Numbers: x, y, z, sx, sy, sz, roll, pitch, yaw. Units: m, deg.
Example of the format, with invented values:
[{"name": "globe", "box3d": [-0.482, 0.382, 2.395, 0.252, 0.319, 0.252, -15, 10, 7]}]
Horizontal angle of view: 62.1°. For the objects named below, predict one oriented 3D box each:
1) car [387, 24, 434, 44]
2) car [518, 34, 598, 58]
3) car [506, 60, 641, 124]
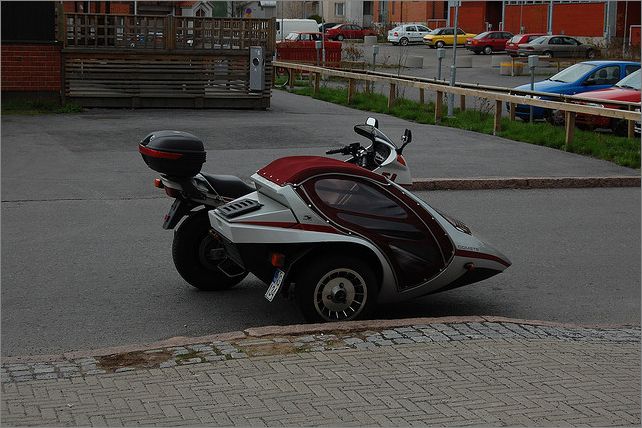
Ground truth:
[{"name": "car", "box3d": [10.471, -21.274, 63.271, 5.229, 1.422, 2.438, -8, 20, -12]}, {"name": "car", "box3d": [20.938, -14.776, 46.938, 6.648, 2.036, 1.680, 0, 10, -7]}, {"name": "car", "box3d": [9.752, -4.916, 20.420, 6.483, 1.461, 2.343, -2, 10, -15]}]
